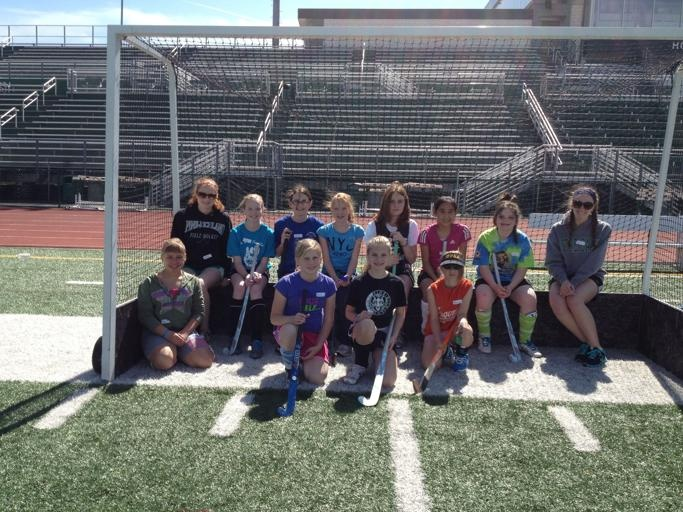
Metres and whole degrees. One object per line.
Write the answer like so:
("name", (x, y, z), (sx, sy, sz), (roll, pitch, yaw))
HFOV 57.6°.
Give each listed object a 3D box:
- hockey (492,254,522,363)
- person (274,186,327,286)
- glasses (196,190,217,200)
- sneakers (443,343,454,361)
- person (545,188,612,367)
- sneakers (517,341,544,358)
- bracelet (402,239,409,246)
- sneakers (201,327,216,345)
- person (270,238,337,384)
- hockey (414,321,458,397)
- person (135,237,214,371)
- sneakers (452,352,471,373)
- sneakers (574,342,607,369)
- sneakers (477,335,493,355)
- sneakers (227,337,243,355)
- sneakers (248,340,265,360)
("hockey", (1.656, 0.536, 6.326), (0.188, 1.115, 0.129), (-26, -24, 32))
("person", (-0.511, -0.262, 6.922), (0.738, 1.289, 0.847), (1, 0, -4))
("glasses", (-1.389, -0.624, 6.498), (0.255, 0.126, 0.162), (-6, 11, -30))
("sneakers", (1.060, 0.964, 6.190), (0.070, 0.091, 0.210), (-17, -2, 11))
("person", (2.328, 0.173, 6.178), (0.599, 1.679, 0.642), (3, 10, 18))
("sneakers", (1.889, 0.936, 6.242), (0.097, 0.108, 0.245), (-10, 14, -33))
("bracelet", (0.655, -0.131, 6.462), (0.068, 0.029, 0.078), (2, 11, 1))
("sneakers", (-1.368, 0.841, 6.417), (0.068, 0.149, 0.211), (-10, -18, -5))
("person", (-0.357, 0.495, 5.639), (0.563, 1.262, 0.470), (0, 10, 3))
("hockey", (0.894, 0.987, 5.837), (0.115, 0.195, 1.080), (-27, 11, 28))
("person", (-1.556, 0.450, 5.807), (0.657, 1.182, 0.431), (-4, 10, -20))
("sneakers", (1.111, 1.012, 5.869), (0.106, 0.098, 0.215), (-1, 13, 17))
("sneakers", (2.430, 0.964, 6.063), (0.288, 0.176, 0.245), (4, 10, 21))
("sneakers", (1.449, 0.896, 6.290), (0.135, 0.172, 0.114), (2, 10, 9))
("sneakers", (-1.087, 0.851, 6.307), (0.136, 0.184, 0.438), (-2, 10, -10))
("sneakers", (-0.839, 0.938, 6.137), (0.153, 0.154, 0.375), (0, 0, -6))
